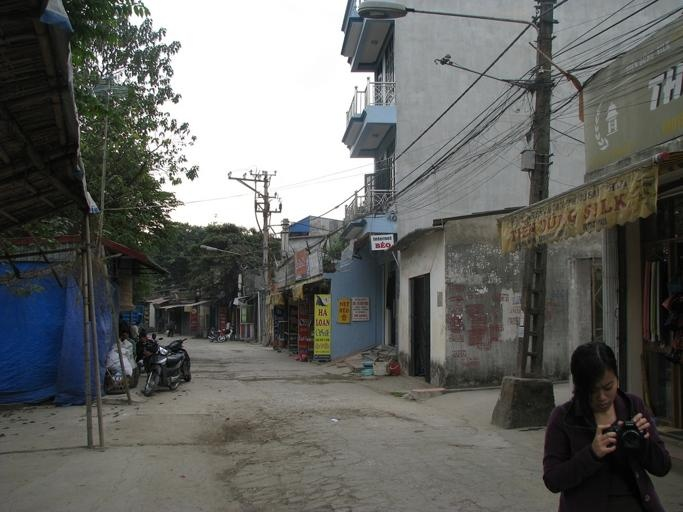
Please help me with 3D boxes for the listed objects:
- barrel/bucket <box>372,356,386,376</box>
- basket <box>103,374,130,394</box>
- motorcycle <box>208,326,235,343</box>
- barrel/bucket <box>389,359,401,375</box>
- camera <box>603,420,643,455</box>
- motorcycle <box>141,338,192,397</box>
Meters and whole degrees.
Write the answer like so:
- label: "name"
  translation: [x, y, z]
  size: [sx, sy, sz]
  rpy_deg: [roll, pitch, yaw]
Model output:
- label: "barrel/bucket"
  translation: [1.146, 3.313, 19.355]
  size: [0.313, 0.492, 0.353]
  rpy_deg: [-1, -11, 3]
- label: "basket"
  translation: [-4.763, 2.779, 13.784]
  size: [0.508, 0.378, 0.700]
  rpy_deg: [2, -2, -22]
- label: "motorcycle"
  translation: [-8.106, 5.145, 42.449]
  size: [1.863, 1.277, 0.967]
  rpy_deg: [-2, 4, 8]
- label: "barrel/bucket"
  translation: [1.576, 3.291, 19.254]
  size: [0.299, 0.335, 0.352]
  rpy_deg: [-6, 2, 0]
- label: "camera"
  translation: [2.230, 1.410, 5.196]
  size: [0.279, 0.264, 0.216]
  rpy_deg: [0, -7, -3]
- label: "motorcycle"
  translation: [-3.970, 2.599, 15.271]
  size: [0.623, 0.977, 1.668]
  rpy_deg: [-7, -13, 6]
